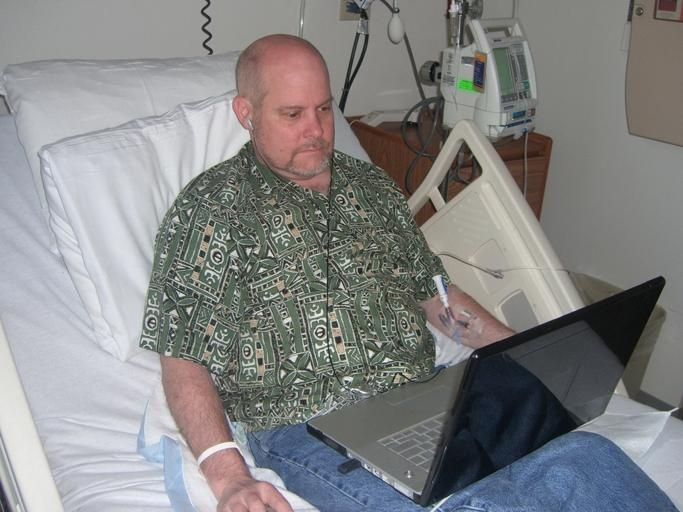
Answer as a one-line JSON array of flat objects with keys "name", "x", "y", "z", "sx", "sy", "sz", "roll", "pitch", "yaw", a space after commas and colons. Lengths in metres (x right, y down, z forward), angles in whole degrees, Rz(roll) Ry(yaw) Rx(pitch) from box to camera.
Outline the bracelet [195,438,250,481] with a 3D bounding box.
[{"name": "bracelet", "x": -0.263, "y": 0.426, "z": 1.157, "sx": 0.070, "sy": 0.047, "sz": 0.071, "roll": -29, "pitch": -11, "yaw": -10}]

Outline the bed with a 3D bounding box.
[{"name": "bed", "x": -0.020, "y": 0.001, "z": 1.306, "sx": 0.842, "sy": 0.839, "sz": 1.231, "roll": -14, "pitch": 22, "yaw": -29}]

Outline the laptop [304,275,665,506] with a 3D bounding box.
[{"name": "laptop", "x": 0.264, "y": 0.242, "z": 1.098, "sx": 0.593, "sy": 0.377, "sz": 0.474, "roll": -20, "pitch": 31, "yaw": -29}]

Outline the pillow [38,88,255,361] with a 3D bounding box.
[{"name": "pillow", "x": -0.548, "y": -0.049, "z": 1.476, "sx": 0.545, "sy": 0.685, "sz": 0.165, "roll": -16, "pitch": 13, "yaw": -40}]

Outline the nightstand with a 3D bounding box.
[{"name": "nightstand", "x": 0.546, "y": -0.251, "z": 2.894, "sx": 0.825, "sy": 0.857, "sz": 0.609, "roll": -5, "pitch": 41, "yaw": -18}]
